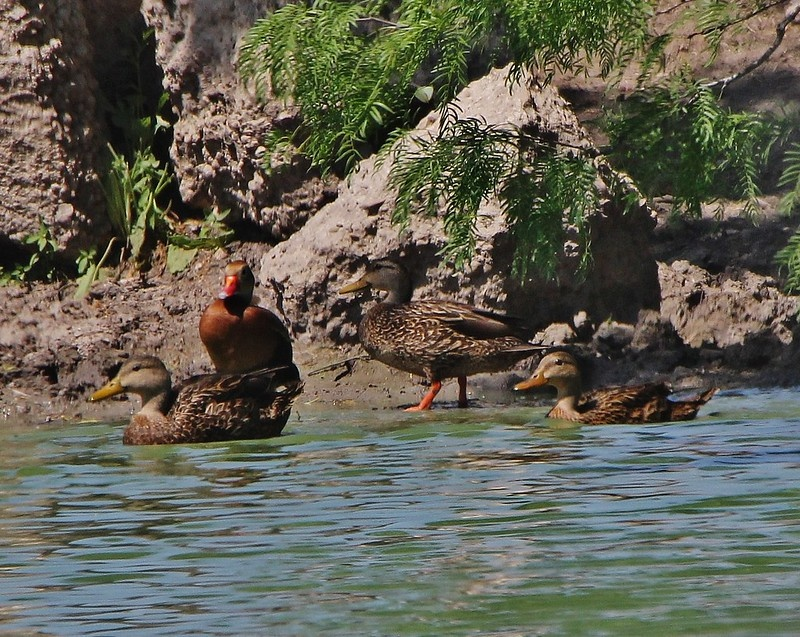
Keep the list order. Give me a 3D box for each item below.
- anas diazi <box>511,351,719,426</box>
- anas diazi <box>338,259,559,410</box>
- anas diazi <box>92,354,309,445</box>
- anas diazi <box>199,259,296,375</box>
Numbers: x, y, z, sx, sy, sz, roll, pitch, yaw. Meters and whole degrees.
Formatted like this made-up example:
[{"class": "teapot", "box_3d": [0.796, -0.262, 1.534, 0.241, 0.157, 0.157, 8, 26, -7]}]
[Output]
[{"class": "anas diazi", "box_3d": [1.559, 0.585, 11.746, 1.724, 0.692, 0.674, -1, 0, -31]}, {"class": "anas diazi", "box_3d": [0.445, 0.088, 13.087, 1.835, 1.006, 0.835, 3, 8, 19]}, {"class": "anas diazi", "box_3d": [-1.381, 0.588, 11.127, 1.546, 0.729, 0.608, -1, -17, 1]}, {"class": "anas diazi", "box_3d": [-1.236, 0.020, 12.691, 0.851, 0.981, 1.206, 2, 7, 14]}]
